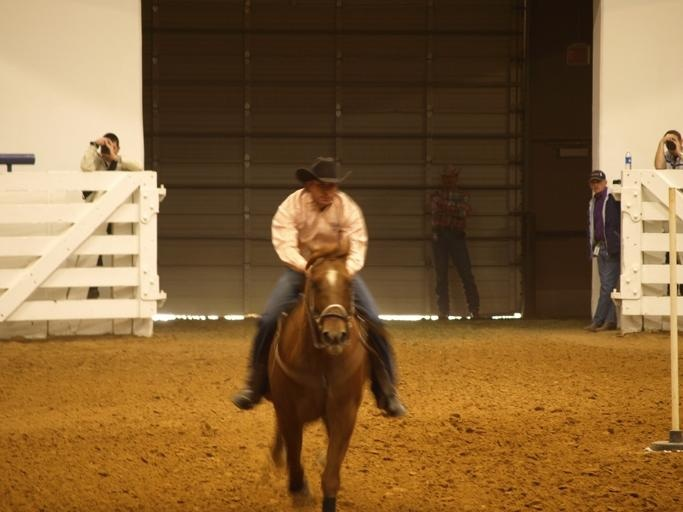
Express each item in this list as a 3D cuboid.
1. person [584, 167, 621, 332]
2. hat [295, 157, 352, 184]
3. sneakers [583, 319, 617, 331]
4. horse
[{"bbox_3d":[4.537,-0.139,14.733,0.481,2.812,0.854,-1,-2,5],"label":"person"},{"bbox_3d":[-0.228,-0.859,8.475,0.419,0.286,0.457,-1,-1,-3],"label":"hat"},{"bbox_3d":[4.530,1.184,14.967,0.527,0.251,0.191,12,-7,-29],"label":"sneakers"},{"bbox_3d":[-0.175,1.161,8.075,0.752,2.566,1.278,0,-2,-27],"label":"horse"}]
